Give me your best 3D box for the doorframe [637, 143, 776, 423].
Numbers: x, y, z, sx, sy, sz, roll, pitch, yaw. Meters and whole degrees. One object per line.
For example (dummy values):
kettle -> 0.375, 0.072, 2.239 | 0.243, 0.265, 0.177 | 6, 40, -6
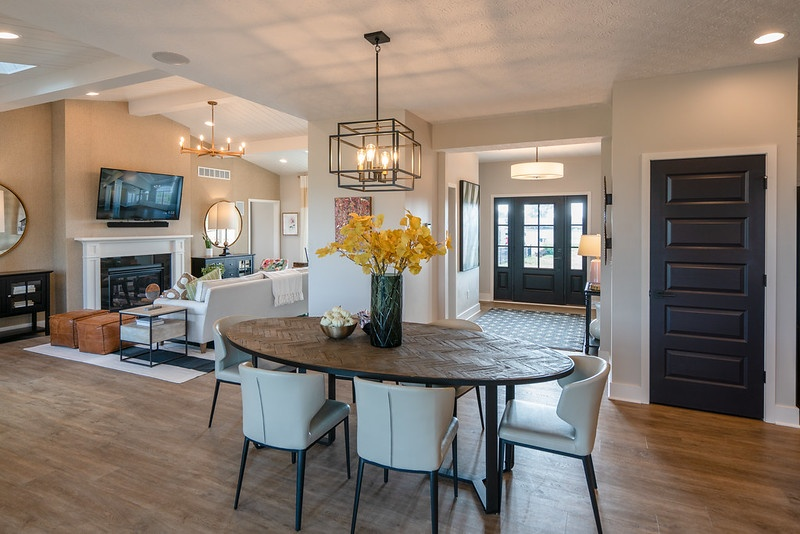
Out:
doorframe -> 3.166, 0.189, 5.304 | 0.190, 2.608, 1.193 | -6, 5, -42

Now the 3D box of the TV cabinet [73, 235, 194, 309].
TV cabinet -> -4.585, 0.076, 8.960 | 2.086, 1.238, 0.302 | -1, 3, 12

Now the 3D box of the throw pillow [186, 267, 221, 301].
throw pillow -> -2.678, 0.276, 7.205 | 0.178, 0.513, 0.565 | 11, -4, -29

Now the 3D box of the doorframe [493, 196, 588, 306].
doorframe -> 2.796, -0.348, 10.229 | 1.944, 2.120, 0.180 | 1, -2, 0

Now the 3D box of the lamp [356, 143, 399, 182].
lamp -> -0.188, -0.936, 4.648 | 0.378, 0.319, 0.436 | -4, 11, -26

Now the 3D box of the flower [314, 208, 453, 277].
flower -> -0.145, -0.193, 4.434 | 1.080, 0.567, 0.665 | -1, 5, -2

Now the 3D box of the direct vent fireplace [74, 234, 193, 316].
direct vent fireplace -> -4.675, 0.025, 9.127 | 0.290, 1.177, 1.908 | 4, 7, 33

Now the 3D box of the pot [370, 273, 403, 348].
pot -> -0.144, 0.372, 4.462 | 0.355, 0.583, 0.339 | 0, 2, 0

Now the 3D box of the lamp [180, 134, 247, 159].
lamp -> -3.651, -2.362, 9.900 | 0.890, 0.215, 0.798 | 3, 8, 12

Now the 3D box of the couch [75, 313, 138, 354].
couch -> -4.232, 0.927, 7.209 | 0.527, 0.418, 0.665 | 0, 8, -3

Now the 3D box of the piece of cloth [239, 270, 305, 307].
piece of cloth -> -2.233, 0.310, 8.321 | 1.187, 0.408, 1.085 | 5, 8, 41

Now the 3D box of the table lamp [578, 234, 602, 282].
table lamp -> 2.619, -0.108, 7.013 | 0.265, 0.638, 0.491 | 2, 4, 18

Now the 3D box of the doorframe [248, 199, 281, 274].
doorframe -> -3.717, -0.793, 13.103 | 0.166, 1.967, 0.758 | -11, 10, -36

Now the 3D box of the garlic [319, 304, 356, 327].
garlic -> -0.574, 0.432, 4.571 | 0.214, 0.138, 0.238 | 1, -1, -32
